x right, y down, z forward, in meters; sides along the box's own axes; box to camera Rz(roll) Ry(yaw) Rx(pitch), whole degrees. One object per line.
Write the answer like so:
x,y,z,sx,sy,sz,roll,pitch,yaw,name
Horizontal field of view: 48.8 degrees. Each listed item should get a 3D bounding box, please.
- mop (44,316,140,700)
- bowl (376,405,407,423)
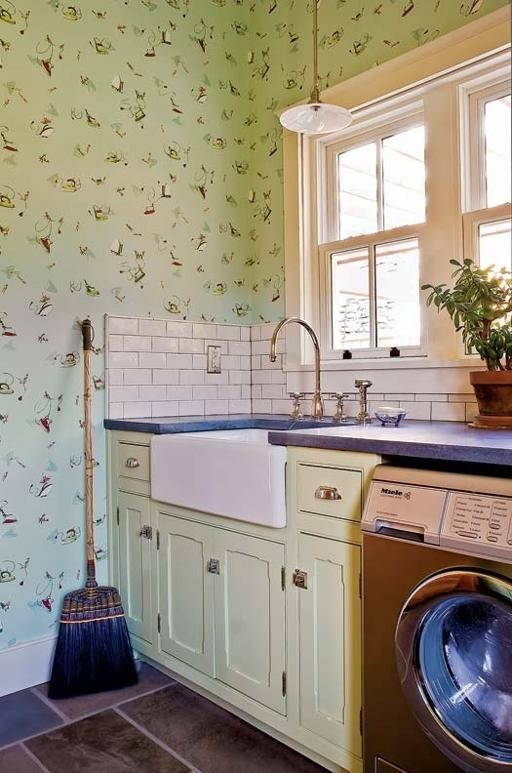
-0.611,0.407,2.113,0.308,1.329,0.303,0,-4,-16,mop
0.425,0.077,1.800,0.085,0.060,0.059,2,5,21,bowl
